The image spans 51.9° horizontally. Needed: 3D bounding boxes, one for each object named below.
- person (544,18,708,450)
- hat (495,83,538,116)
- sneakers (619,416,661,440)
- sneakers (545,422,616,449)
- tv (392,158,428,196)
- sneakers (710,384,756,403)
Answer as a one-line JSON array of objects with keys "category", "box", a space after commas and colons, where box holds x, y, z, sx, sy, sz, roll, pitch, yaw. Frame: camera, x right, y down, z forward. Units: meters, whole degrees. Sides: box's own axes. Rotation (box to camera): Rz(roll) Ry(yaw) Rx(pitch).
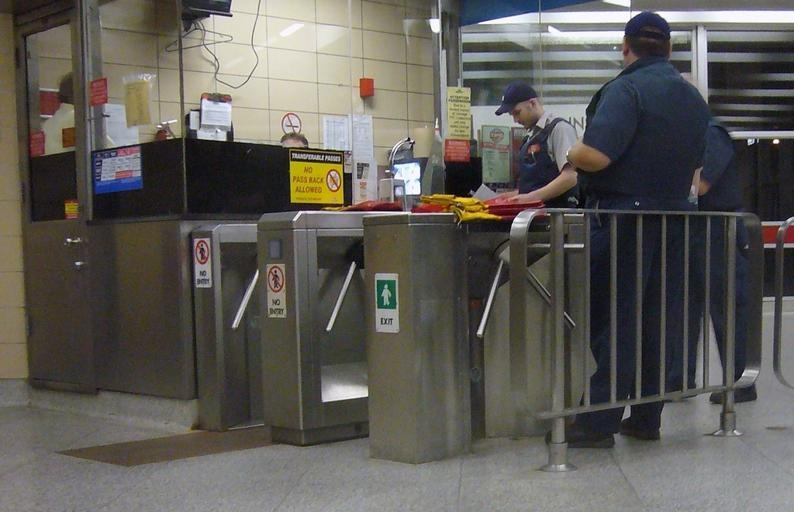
[{"category": "person", "box": [1.421, -0.159, 4.944, 0.976, 2.602, 0.515, -9, 11, -29]}, {"category": "hat", "box": [0.909, -1.258, 6.413, 0.308, 0.158, 0.211, -23, 13, 3]}, {"category": "sneakers", "box": [1.484, 1.089, 5.138, 0.126, 0.133, 0.306, 0, -5, -33]}, {"category": "sneakers", "box": [1.139, 1.102, 4.994, 0.445, 0.184, 0.162, 3, -1, -1]}, {"category": "tv", "box": [0.110, -0.690, 7.094, 0.319, 0.313, 0.228, -3, 10, 0]}, {"category": "sneakers", "box": [2.254, 0.926, 5.469, 0.318, 0.114, 0.191, -11, 1, 11]}]
